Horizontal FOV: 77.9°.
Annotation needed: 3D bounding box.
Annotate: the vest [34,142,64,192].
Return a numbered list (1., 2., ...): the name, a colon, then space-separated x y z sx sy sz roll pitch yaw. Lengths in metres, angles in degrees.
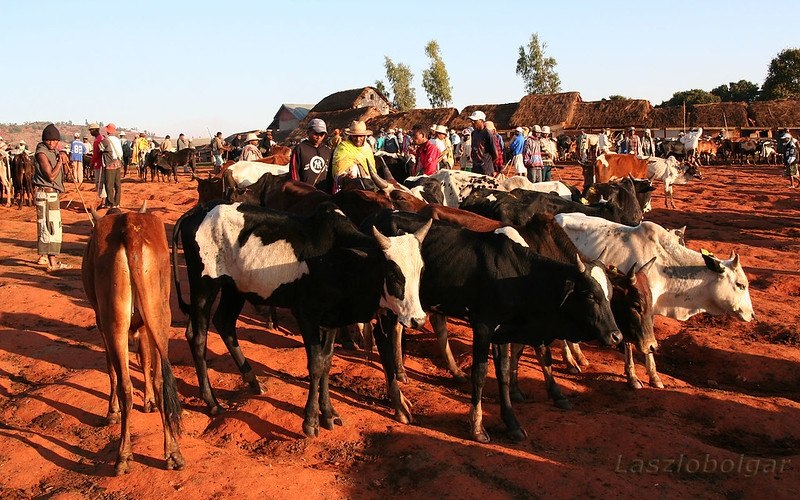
1. vest: -7.207 -1.696 10.122 0.494 1.016 0.596 -8 13 -35
